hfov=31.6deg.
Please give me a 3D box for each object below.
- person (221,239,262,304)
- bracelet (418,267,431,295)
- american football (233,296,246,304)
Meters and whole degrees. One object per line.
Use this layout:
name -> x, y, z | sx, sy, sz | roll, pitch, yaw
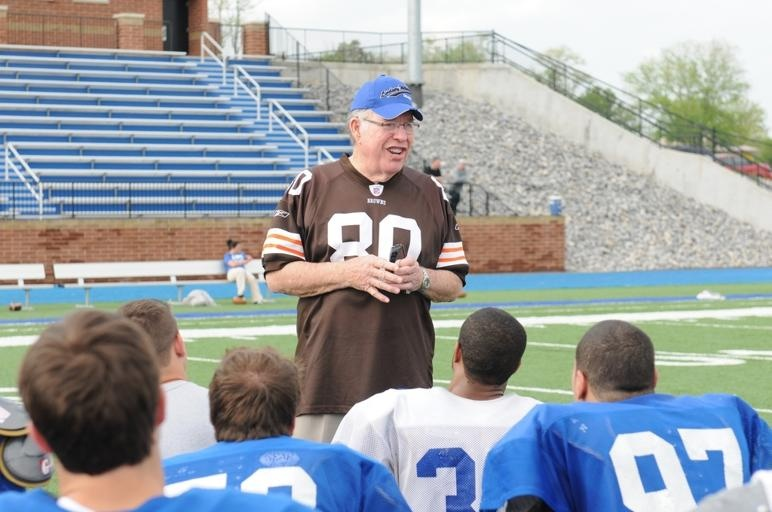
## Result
person -> -4.460, 0.516, 42.713 | 0.838, 1.868, 1.555 | -7, 12, -29
bracelet -> 0.873, 0.575, 30.381 | 0.316, 0.475, 0.455 | 5, 19, -8
american football -> -4.561, 1.395, 42.652 | 0.181, 0.190, 0.441 | 2, -4, -28
